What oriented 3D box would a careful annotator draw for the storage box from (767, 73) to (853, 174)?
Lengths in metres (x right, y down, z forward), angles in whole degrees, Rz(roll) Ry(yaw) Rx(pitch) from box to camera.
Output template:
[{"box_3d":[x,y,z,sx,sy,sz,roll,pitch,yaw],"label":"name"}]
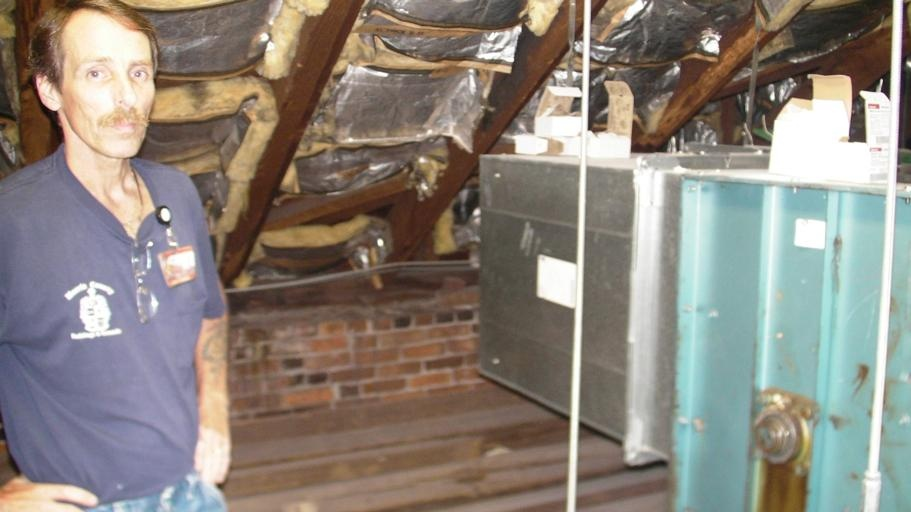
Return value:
[{"box_3d":[1.099,-0.397,2.276,0.226,0.316,0.182,22,25,28],"label":"storage box"}]
